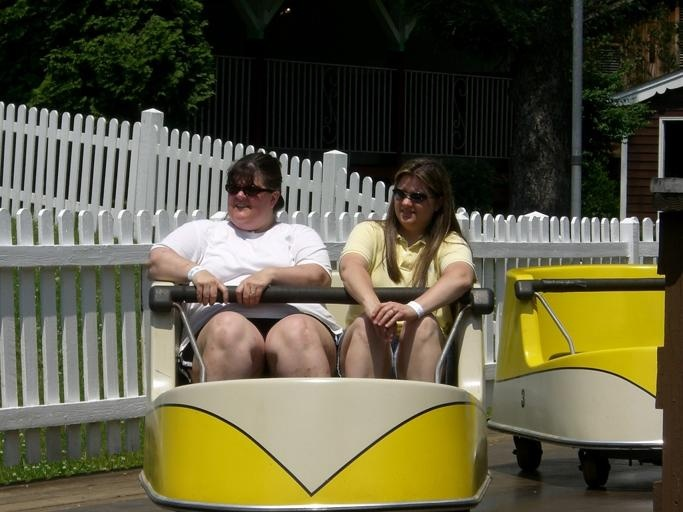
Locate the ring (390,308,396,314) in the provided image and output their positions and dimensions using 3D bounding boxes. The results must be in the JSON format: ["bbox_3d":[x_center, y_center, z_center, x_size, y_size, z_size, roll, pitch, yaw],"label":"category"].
[{"bbox_3d":[0.328,0.354,7.707,0.020,0.039,0.029,-2,0,1],"label":"ring"}]

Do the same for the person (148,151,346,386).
[{"bbox_3d":[-0.662,0.052,8.131,1.312,1.322,1.263,1,14,5],"label":"person"}]

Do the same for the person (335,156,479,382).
[{"bbox_3d":[0.430,0.131,8.390,0.699,1.227,2.094,4,47,4],"label":"person"}]

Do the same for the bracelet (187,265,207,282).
[{"bbox_3d":[-0.965,0.135,7.982,0.099,0.103,0.190,-5,16,-21],"label":"bracelet"}]

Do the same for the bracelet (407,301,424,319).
[{"bbox_3d":[0.477,0.339,7.752,0.020,0.103,0.092,-24,35,-13],"label":"bracelet"}]
